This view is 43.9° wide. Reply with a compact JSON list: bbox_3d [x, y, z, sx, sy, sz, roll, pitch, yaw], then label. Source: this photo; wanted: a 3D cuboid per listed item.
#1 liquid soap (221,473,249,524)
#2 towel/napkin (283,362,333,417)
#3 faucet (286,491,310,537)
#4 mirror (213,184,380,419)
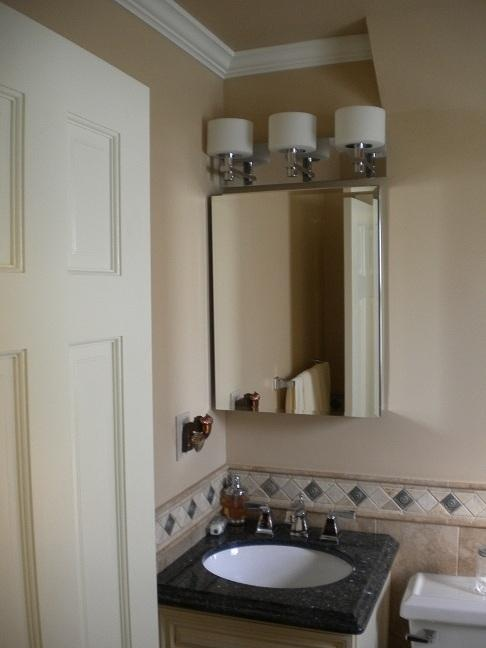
[{"bbox_3d":[-0.031,0.567,1.936,0.088,0.138,0.079,1,2,-2],"label":"liquid soap"},{"bbox_3d":[0.205,0.194,1.855,0.133,0.161,0.056,0,0,43],"label":"towel/napkin"},{"bbox_3d":[0.175,0.600,1.929,0.077,0.122,0.118,-3,-3,8],"label":"faucet"},{"bbox_3d":[0.179,-0.089,1.848,0.690,0.958,0.045,0,1,13],"label":"mirror"}]
